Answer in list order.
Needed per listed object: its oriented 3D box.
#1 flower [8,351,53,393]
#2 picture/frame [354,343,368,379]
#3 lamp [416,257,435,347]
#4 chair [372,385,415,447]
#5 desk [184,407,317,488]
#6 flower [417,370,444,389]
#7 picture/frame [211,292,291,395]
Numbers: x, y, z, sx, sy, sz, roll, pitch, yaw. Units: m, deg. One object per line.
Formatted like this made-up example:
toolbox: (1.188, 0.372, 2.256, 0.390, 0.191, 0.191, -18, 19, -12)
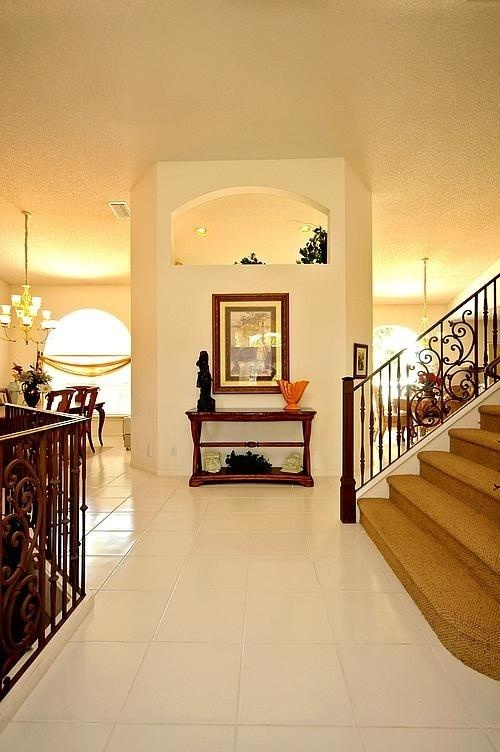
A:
flower: (-3.137, -0.096, 7.080, 0.606, 0.669, 0.599, -2, -1, -39)
picture/frame: (1.255, -0.170, 5.653, 0.024, 0.366, 0.348, -1, 10, 25)
lamp: (3.135, -1.315, 8.915, 0.323, 1.494, 0.323, 1, 20, 19)
chair: (1.299, 0.367, 4.576, 0.276, 0.449, 0.304, 3, 15, 30)
desk: (0.030, 0.716, 5.141, 1.235, 0.830, 0.514, 0, 11, 5)
flower: (1.393, 0.035, 3.873, 0.193, 0.132, 0.202, 4, 5, 29)
picture/frame: (0.043, -0.349, 5.418, 1.001, 1.433, 0.058, 0, 1, 0)
